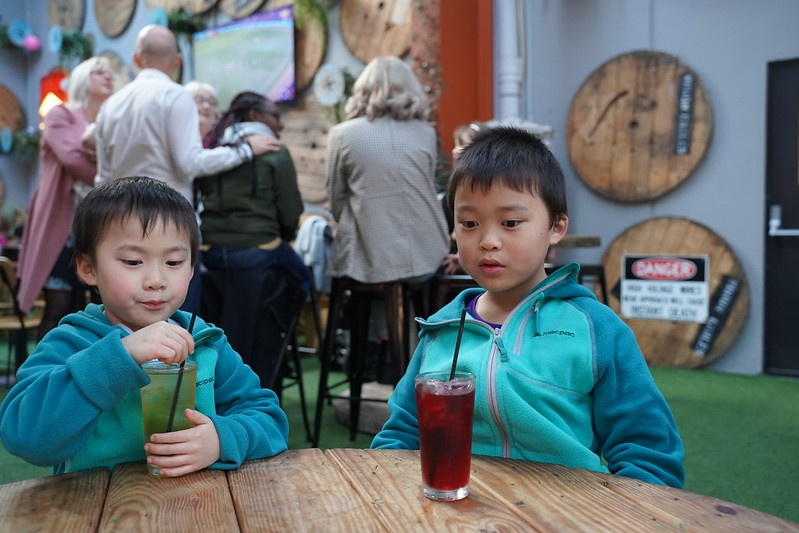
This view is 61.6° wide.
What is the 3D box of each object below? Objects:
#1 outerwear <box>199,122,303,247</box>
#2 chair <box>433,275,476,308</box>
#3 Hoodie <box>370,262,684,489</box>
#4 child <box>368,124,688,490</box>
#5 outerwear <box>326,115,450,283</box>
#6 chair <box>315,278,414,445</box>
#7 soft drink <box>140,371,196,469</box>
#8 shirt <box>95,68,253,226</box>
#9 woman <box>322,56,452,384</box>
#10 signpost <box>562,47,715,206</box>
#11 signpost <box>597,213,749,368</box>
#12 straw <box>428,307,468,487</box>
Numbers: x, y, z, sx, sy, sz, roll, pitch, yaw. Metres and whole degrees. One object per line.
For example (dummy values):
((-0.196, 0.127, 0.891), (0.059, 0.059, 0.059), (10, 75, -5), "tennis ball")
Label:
((-0.673, -0.282, 3.107), (0.540, 0.555, 0.371), (-6, -18, 29), "outerwear")
((0.254, 0.123, 3.108), (0.150, 0.150, 0.154), (2, 2, 12), "chair")
((0.366, 0.254, 1.767), (0.885, 0.712, 0.469), (2, -7, 25), "Hoodie")
((0.272, 0.276, 1.690), (0.757, 1.141, 0.463), (-2, -5, 22), "child")
((-0.066, -0.329, 3.197), (0.565, 0.786, 0.474), (-10, 8, -27), "outerwear")
((-0.261, 0.418, 3.249), (0.417, 0.744, 0.462), (6, 0, -21), "chair")
((-0.504, 0.303, 1.437), (0.122, 0.227, 0.131), (6, 9, -12), "soft drink")
((-1.025, -0.463, 3.081), (0.592, 0.793, 0.553), (0, 7, 3), "shirt")
((-0.028, -0.302, 3.181), (0.583, 1.386, 0.590), (0, -9, -15), "woman")
((0.660, -0.378, 1.810), (0.484, 0.507, 0.065), (-1, -2, 44), "signpost")
((0.781, 0.105, 1.896), (0.411, 0.422, 0.104), (-2, -21, 40), "signpost")
((0.099, 0.275, 1.363), (0.013, 0.380, 0.025), (22, -33, -15), "straw")
